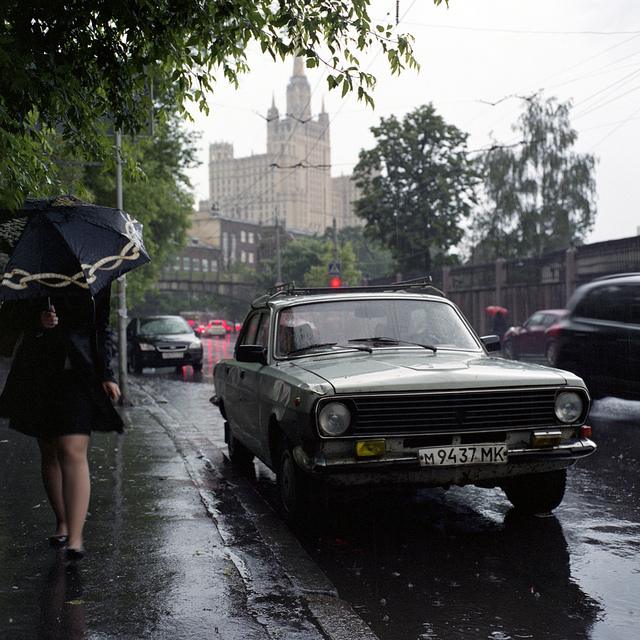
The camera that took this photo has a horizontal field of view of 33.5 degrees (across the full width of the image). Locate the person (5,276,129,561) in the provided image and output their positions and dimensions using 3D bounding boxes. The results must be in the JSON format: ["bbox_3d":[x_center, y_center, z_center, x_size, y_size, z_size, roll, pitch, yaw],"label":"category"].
[{"bbox_3d":[-1.475,0.635,6.577,0.671,1.646,0.400,-1,4,-18],"label":"person"}]

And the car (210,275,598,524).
[{"bbox_3d":[0.287,0.505,8.738,2.114,1.618,4.213,-1,2,-20],"label":"car"}]

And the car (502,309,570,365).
[{"bbox_3d":[4.187,0.355,22.099,0.957,0.994,2.064,1,1,-14],"label":"car"}]

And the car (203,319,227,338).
[{"bbox_3d":[-6.134,0.961,69.987,1.418,1.362,3.758,0,5,-8],"label":"car"}]

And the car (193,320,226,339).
[{"bbox_3d":[-6.053,0.618,65.329,1.024,0.808,2.464,1,4,-13],"label":"car"}]

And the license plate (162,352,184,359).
[{"bbox_3d":[-2.793,0.770,22.077,0.435,0.131,0.059,-2,5,-27],"label":"license plate"}]

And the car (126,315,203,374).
[{"bbox_3d":[-3.105,0.614,23.054,1.470,1.211,2.192,0,5,-11],"label":"car"}]
